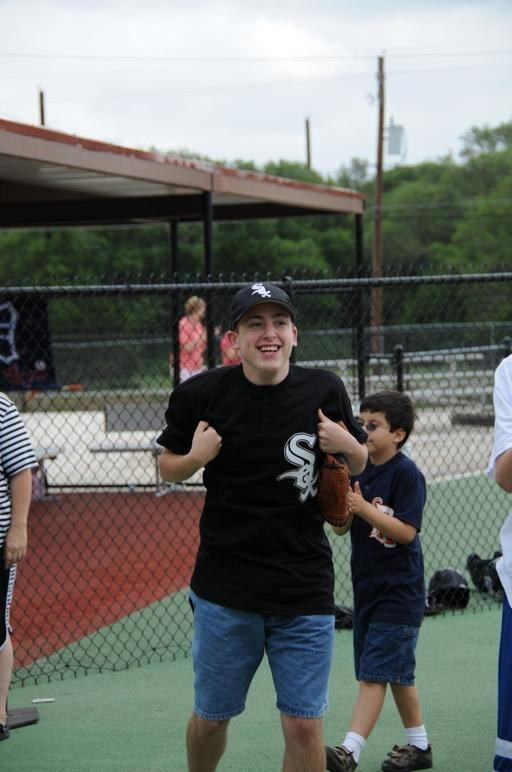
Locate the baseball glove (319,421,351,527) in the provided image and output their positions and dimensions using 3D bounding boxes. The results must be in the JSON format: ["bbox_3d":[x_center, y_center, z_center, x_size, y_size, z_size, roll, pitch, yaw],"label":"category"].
[{"bbox_3d":[0.253,0.314,2.929,0.099,0.246,0.062,2,21,3],"label":"baseball glove"}]

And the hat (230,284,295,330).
[{"bbox_3d":[0.003,-0.240,2.990,0.200,0.135,0.304,-3,0,2],"label":"hat"}]

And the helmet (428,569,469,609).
[{"bbox_3d":[1.119,1.188,5.532,0.192,0.215,0.263,5,-38,0],"label":"helmet"}]

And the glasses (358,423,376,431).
[{"bbox_3d":[0.431,0.160,3.695,0.059,0.018,0.056,-3,-8,43],"label":"glasses"}]

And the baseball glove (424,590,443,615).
[{"bbox_3d":[1.012,1.259,5.431,0.130,0.074,0.169,0,11,-7],"label":"baseball glove"}]
